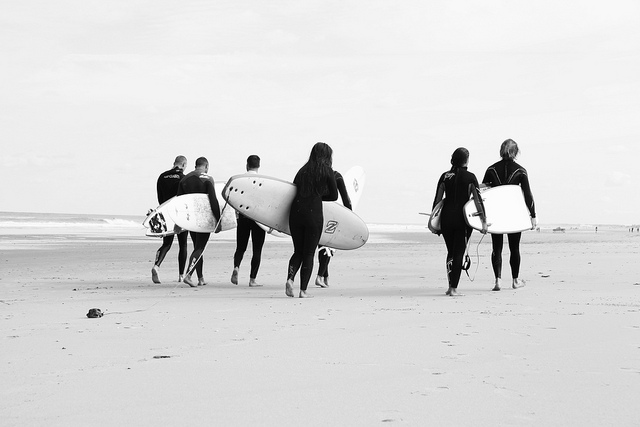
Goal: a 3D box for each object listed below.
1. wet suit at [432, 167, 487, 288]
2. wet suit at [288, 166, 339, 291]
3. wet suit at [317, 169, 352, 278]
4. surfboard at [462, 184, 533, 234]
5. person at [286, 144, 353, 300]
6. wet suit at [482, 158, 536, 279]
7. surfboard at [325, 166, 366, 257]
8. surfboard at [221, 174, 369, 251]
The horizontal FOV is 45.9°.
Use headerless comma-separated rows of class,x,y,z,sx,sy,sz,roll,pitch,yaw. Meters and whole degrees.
wet suit,1.941,0.198,10.577,0.672,1.690,0.487,5,8,43
wet suit,-0.099,0.208,10.178,0.648,1.689,0.421,0,6,-1
wet suit,0.208,0.195,11.059,0.339,1.594,0.467,-28,41,-36
surfboard,2.661,-0.033,11.096,1.339,0.695,0.186,-5,-16,-28
person,-0.097,0.105,10.164,0.663,2.065,0.413,0,6,-1
wet suit,2.795,0.104,11.290,0.870,2.042,0.555,-3,-13,27
surfboard,0.637,-0.186,12.940,0.226,0.452,2.019,-18,28,22
surfboard,-0.188,0.025,11.394,2.721,0.928,0.385,18,-10,-28
